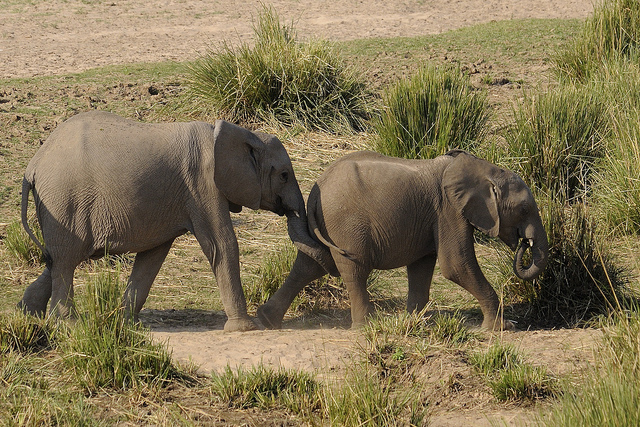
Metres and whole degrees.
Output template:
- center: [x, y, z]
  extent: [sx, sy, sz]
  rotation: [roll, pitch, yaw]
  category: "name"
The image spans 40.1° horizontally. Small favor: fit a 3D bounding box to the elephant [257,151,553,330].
- center: [0.855, 0.341, 8.941]
  extent: [3.002, 1.811, 1.022]
  rotation: [-2, 2, -4]
  category: "elephant"
